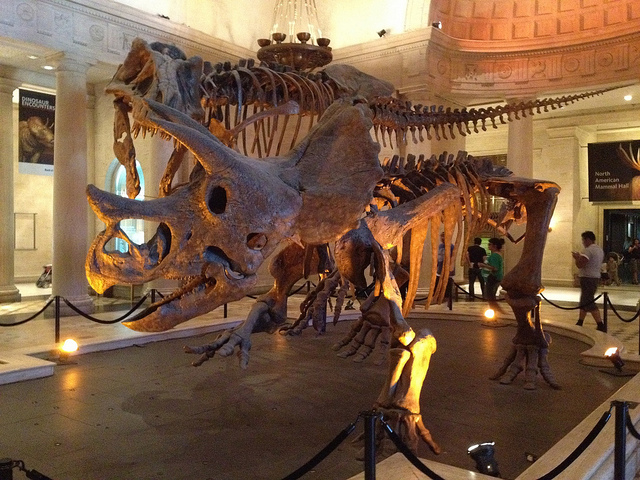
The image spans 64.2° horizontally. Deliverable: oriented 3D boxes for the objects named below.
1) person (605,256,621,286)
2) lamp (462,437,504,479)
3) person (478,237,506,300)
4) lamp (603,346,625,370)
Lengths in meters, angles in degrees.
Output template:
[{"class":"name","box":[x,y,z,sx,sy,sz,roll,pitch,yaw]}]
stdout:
[{"class":"person","box":[9.381,0.937,16.327,0.371,1.038,1.119,4,6,35]},{"class":"lamp","box":[1.176,1.577,3.708,0.242,0.283,0.124,2,-17,-9]},{"class":"person","box":[3.111,0.579,9.235,0.347,1.202,1.746,3,5,19]},{"class":"lamp","box":[3.737,1.503,6.470,0.215,0.174,0.522,4,5,30]}]
